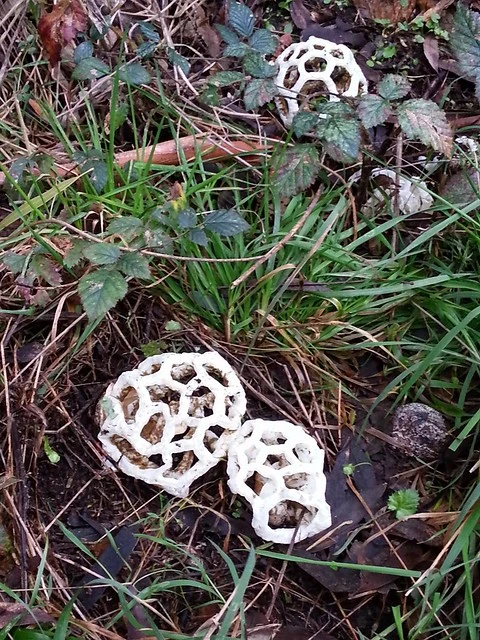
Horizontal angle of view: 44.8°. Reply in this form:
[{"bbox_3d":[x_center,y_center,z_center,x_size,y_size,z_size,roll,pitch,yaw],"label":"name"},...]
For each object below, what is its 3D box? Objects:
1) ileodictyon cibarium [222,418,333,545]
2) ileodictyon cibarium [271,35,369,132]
[{"bbox_3d":[0.129,0.407,1.734,0.255,0.290,0.099,4,101,2],"label":"ileodictyon cibarium"},{"bbox_3d":[0.279,-0.841,2.080,0.338,0.228,0.334,13,62,14],"label":"ileodictyon cibarium"}]
